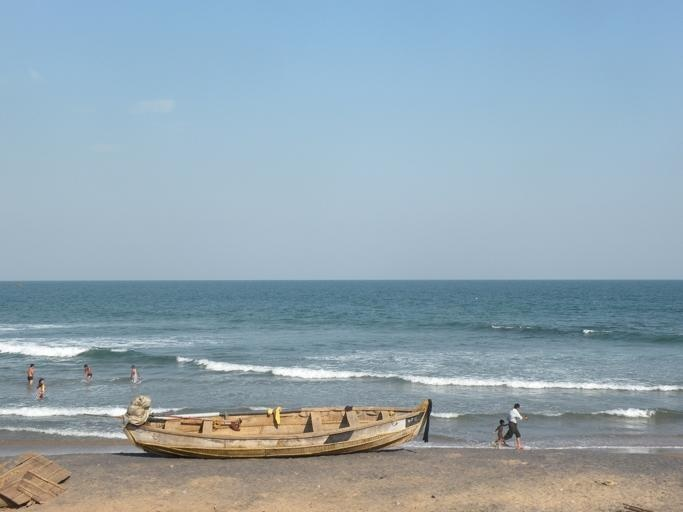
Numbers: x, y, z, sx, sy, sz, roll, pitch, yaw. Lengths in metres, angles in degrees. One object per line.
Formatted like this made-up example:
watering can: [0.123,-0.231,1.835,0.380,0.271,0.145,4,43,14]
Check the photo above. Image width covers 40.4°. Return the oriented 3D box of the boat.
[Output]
boat: [-3.017,7.479,41.247,12.673,2.981,1.439,-2,3,-4]

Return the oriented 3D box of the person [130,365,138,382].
person: [-12.096,6.921,54.100,0.469,0.983,1.192,-6,3,-12]
